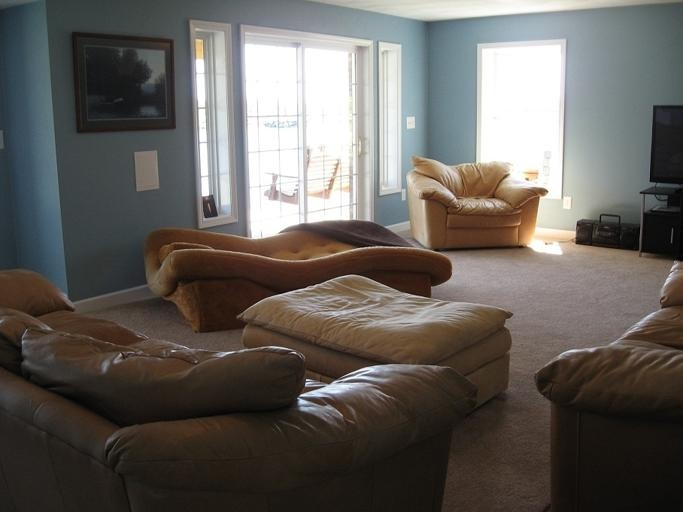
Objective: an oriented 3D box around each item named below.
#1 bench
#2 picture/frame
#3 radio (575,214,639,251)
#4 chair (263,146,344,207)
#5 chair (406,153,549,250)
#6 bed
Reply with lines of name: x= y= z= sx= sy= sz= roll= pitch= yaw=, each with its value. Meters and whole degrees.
bench: x=0.175 y=0.462 z=3.074 sx=1.126 sy=0.422 sz=0.883 roll=12 pitch=18 yaw=34
picture/frame: x=-1.783 y=-1.418 z=4.501 sx=1.063 sy=0.786 sz=0.080 roll=-7 pitch=12 yaw=-38
radio: x=3.129 y=-0.305 z=6.488 sx=0.308 sy=0.384 sz=0.752 roll=-14 pitch=16 yaw=-36
chair: x=-0.463 y=-0.888 z=6.182 sx=0.344 sy=0.415 sz=0.789 roll=5 pitch=14 yaw=34
chair: x=1.530 y=-0.654 z=6.649 sx=1.499 sy=0.855 sz=0.988 roll=-2 pitch=20 yaw=-6
bed: x=-0.355 y=0.098 z=4.284 sx=1.819 sy=0.460 sz=1.088 roll=-3 pitch=5 yaw=-21
